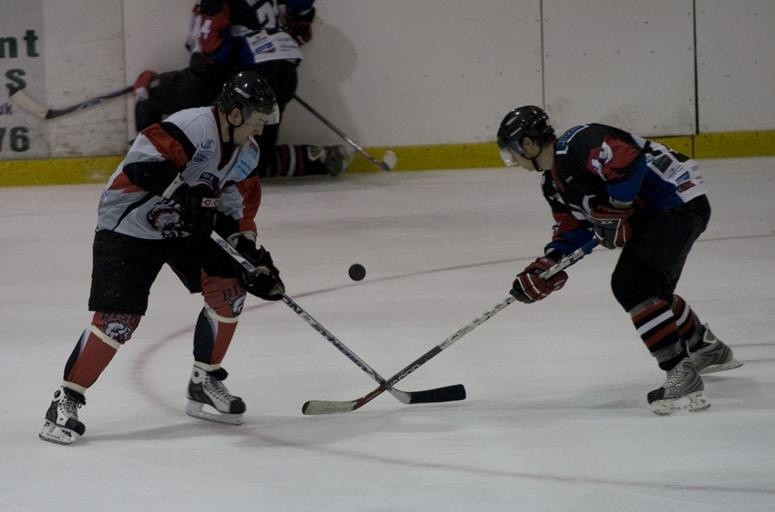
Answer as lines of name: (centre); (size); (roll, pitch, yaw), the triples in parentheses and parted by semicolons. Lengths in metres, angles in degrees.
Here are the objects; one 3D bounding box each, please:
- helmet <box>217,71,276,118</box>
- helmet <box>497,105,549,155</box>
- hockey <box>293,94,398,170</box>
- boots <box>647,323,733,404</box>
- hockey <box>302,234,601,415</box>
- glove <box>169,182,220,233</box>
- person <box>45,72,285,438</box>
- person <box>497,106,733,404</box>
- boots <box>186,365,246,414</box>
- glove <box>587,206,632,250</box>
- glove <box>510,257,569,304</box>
helmet: (-0.515, -0.640, 3.314); (0.233, 0.195, 0.161); (6, 17, 3)
helmet: (0.540, -0.519, 3.490); (0.227, 0.193, 0.170); (-19, 7, 10)
hockey: (-0.389, -1.021, 7.022); (1.219, 0.101, 0.405); (33, -9, -6)
boots: (1.172, 0.472, 3.375); (0.470, 0.200, 0.214); (-34, 24, -34)
hockey: (0.284, 0.369, 3.448); (1.416, 0.097, 0.532); (-27, 40, -1)
glove: (-0.725, -0.188, 3.257); (0.155, 0.185, 0.079); (4, 3, -21)
person: (-0.812, -0.015, 3.274); (0.873, 1.431, 0.305); (4, 6, -18)
person: (0.928, -0.004, 3.442); (0.976, 1.141, 0.478); (7, 6, 22)
boots: (-0.668, 0.536, 3.378); (0.352, 0.161, 0.122); (3, 6, 43)
glove: (0.860, -0.116, 3.314); (0.227, 0.192, 0.147); (-5, 5, 6)
glove: (0.619, 0.126, 3.565); (0.238, 0.168, 0.108); (-29, -34, 0)
